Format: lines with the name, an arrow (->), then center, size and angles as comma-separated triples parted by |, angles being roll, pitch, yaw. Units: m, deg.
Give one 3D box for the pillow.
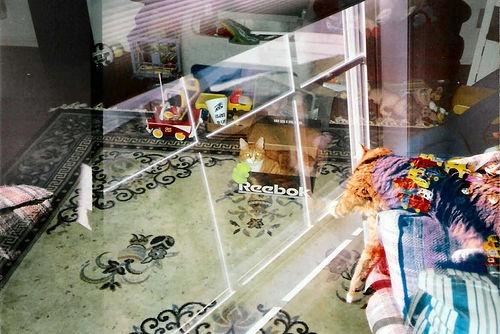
pillow -> 0.618, 0.340, 1.337 | 0.099, 0.311, 0.268 | -1, 9, -39
